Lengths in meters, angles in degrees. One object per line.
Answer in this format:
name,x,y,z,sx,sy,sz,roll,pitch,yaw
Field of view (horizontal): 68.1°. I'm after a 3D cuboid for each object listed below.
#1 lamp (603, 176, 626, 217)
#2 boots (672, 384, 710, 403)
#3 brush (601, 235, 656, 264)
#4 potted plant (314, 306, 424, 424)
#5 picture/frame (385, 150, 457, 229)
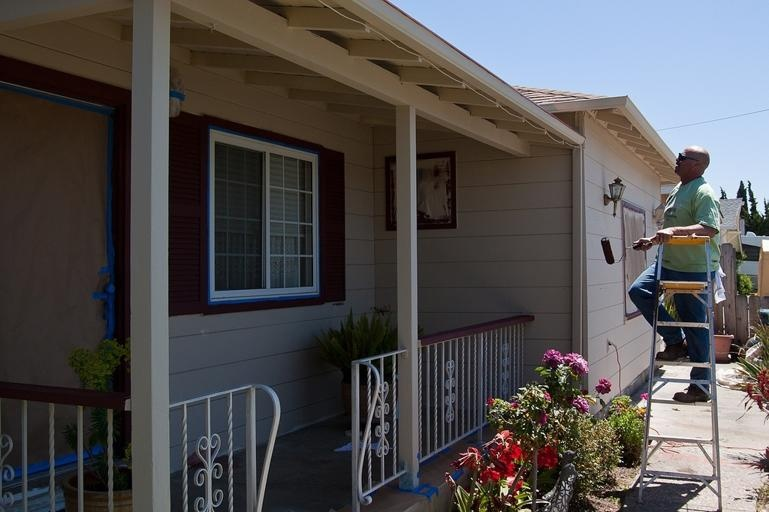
lamp,3.518,-0.914,8.698,0.284,0.561,0.884,-7,-7,26
boots,3.389,1.504,6.310,0.384,0.173,0.190,1,-7,2
brush,3.714,-0.101,8.746,0.694,0.252,0.443,-9,8,-26
potted plant,-0.319,1.331,7.155,0.795,1.144,0.933,11,-18,-37
picture/frame,0.530,-0.836,7.229,1.150,1.291,0.060,0,0,17
